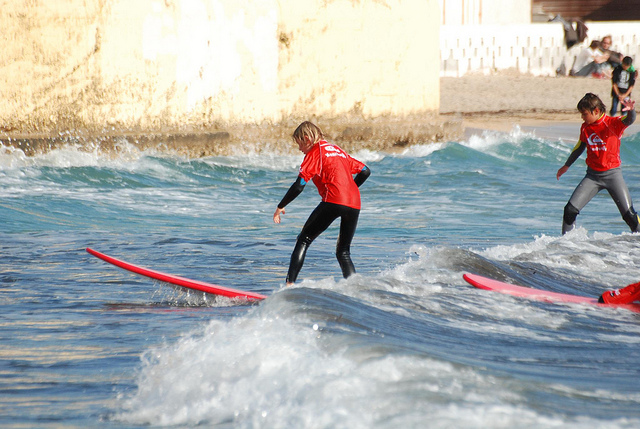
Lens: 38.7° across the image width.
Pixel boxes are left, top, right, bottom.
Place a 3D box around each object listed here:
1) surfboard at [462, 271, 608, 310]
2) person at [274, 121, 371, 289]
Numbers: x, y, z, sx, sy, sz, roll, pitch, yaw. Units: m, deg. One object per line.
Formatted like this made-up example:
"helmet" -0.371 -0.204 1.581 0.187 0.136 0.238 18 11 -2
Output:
"surfboard" 2.513 0.924 11.093 1.285 0.099 0.166 10 24 14
"person" 0.046 -0.104 11.153 1.093 2.063 0.831 -1 15 2
